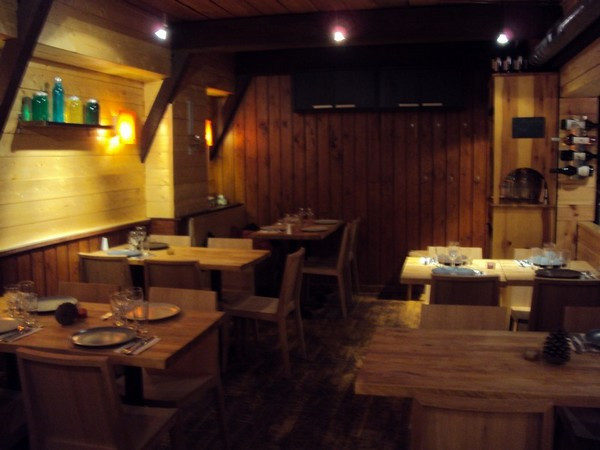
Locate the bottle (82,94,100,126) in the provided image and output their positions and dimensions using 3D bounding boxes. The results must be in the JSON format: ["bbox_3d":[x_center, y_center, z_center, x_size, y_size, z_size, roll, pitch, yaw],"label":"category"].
[{"bbox_3d":[-2.174,-1.179,4.943,0.121,0.269,0.202,0,10,-2],"label":"bottle"}]

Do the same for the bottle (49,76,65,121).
[{"bbox_3d":[-2.325,-1.199,4.555,0.102,0.426,0.204,-4,11,-20],"label":"bottle"}]

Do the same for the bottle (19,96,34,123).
[{"bbox_3d":[-2.472,-1.044,4.305,0.117,0.232,0.074,-10,14,-44],"label":"bottle"}]

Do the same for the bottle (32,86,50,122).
[{"bbox_3d":[-2.396,-1.122,4.384,0.153,0.362,0.296,-5,11,-27],"label":"bottle"}]

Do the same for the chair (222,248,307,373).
[{"bbox_3d":[-0.314,0.700,4.628,0.717,1.068,1.121,0,10,-1],"label":"chair"}]

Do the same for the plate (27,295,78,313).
[{"bbox_3d":[-1.635,0.522,3.194,0.178,0.023,0.169,-3,14,-16],"label":"plate"}]

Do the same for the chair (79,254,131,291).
[{"bbox_3d":[-1.699,0.415,4.141,0.280,0.429,0.293,5,9,18],"label":"chair"}]

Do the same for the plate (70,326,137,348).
[{"bbox_3d":[-1.092,0.617,2.644,0.293,0.038,0.322,-7,12,-39],"label":"plate"}]

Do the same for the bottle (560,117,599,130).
[{"bbox_3d":[3.170,-1.154,5.431,0.343,0.145,0.235,-3,10,-22],"label":"bottle"}]

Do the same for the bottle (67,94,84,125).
[{"bbox_3d":[-2.271,-1.169,4.800,0.094,0.279,0.241,0,10,-1],"label":"bottle"}]

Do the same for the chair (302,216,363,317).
[{"bbox_3d":[0.401,0.483,6.137,0.660,1.063,1.231,2,10,7],"label":"chair"}]

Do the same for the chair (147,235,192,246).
[{"bbox_3d":[-1.455,0.174,5.451,0.308,0.114,0.156,3,9,11],"label":"chair"}]
